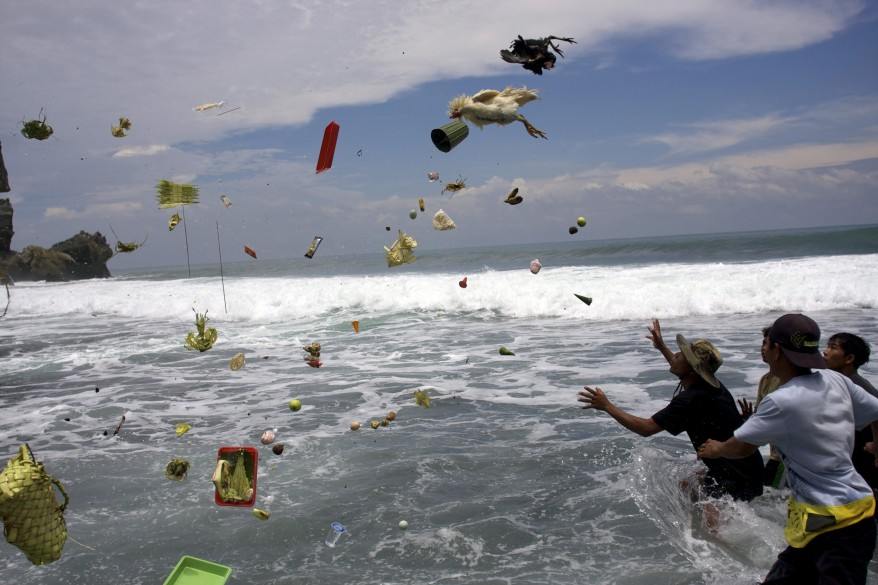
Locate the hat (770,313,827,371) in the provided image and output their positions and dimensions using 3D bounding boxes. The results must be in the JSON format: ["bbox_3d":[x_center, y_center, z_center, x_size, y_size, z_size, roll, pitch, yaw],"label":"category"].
[{"bbox_3d":[3.672,0.449,6.623,0.472,0.331,0.619,-6,38,-13],"label":"hat"}]

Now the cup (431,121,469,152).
[{"bbox_3d":[0.160,-2.333,9.570,0.518,0.462,0.302,-4,11,-7],"label":"cup"}]
